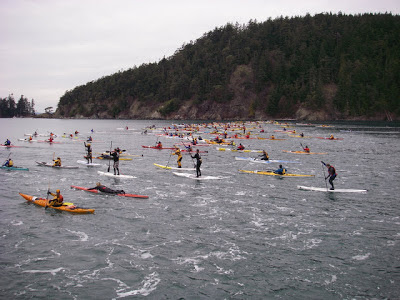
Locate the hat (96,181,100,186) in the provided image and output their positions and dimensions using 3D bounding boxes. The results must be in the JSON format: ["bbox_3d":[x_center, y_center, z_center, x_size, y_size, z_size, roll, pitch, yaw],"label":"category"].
[{"bbox_3d":[-9.973,3.334,35.335,0.425,0.429,0.472,5,21,-7],"label":"hat"}]
